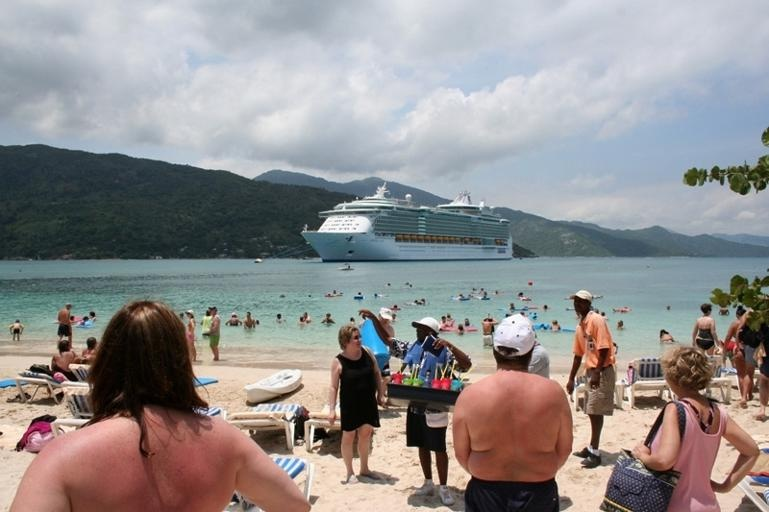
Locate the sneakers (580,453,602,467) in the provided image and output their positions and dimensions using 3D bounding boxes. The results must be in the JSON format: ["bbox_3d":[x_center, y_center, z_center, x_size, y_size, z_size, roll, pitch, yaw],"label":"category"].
[{"bbox_3d":[2.673,2.619,7.317,0.318,0.111,0.125,12,20,6],"label":"sneakers"}]

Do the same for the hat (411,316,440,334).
[{"bbox_3d":[0.542,0.827,6.962,0.357,0.157,0.246,13,-9,-1],"label":"hat"}]

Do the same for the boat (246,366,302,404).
[{"bbox_3d":[-2.097,2.495,11.101,0.416,0.263,1.256,8,7,20],"label":"boat"}]

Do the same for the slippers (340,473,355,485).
[{"bbox_3d":[-0.488,2.770,7.092,0.246,0.087,0.077,4,-14,-19],"label":"slippers"}]

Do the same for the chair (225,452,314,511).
[{"bbox_3d":[-1.307,2.635,6.868,0.848,0.593,1.474,-1,-1,1],"label":"chair"}]

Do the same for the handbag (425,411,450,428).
[{"bbox_3d":[0.590,1.802,6.312,0.239,0.157,0.208,-2,-11,3],"label":"handbag"}]

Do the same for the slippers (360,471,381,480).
[{"bbox_3d":[-0.156,2.749,7.191,0.230,0.086,0.204,0,-1,-30],"label":"slippers"}]

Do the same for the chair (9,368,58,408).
[{"bbox_3d":[-6.623,2.421,10.783,0.714,0.456,0.946,6,-12,-12],"label":"chair"}]

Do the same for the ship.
[{"bbox_3d":[4.730,-5.412,96.090,44.921,12.787,13.764,0,-4,-43],"label":"ship"}]

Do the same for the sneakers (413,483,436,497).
[{"bbox_3d":[0.489,2.763,6.758,0.283,0.170,0.109,5,-18,3],"label":"sneakers"}]

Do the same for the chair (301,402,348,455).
[{"bbox_3d":[-0.953,2.443,8.392,0.859,0.454,1.145,-2,2,5],"label":"chair"}]

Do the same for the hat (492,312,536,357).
[{"bbox_3d":[1.051,0.633,4.590,0.313,0.317,0.310,-1,-1,11],"label":"hat"}]
